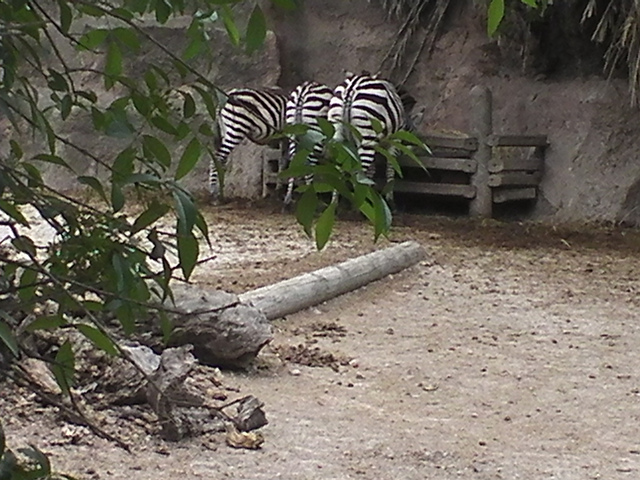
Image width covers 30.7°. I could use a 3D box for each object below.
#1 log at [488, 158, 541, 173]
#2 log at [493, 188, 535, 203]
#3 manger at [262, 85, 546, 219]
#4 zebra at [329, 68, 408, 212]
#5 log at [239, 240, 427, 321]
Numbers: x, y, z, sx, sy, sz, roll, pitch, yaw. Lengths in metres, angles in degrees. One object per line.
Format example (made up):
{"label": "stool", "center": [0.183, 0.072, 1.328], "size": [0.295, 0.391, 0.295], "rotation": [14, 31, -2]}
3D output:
{"label": "log", "center": [1.933, -0.738, 11.635], "size": [0.583, 0.149, 0.205], "rotation": [-5, 17, -39]}
{"label": "log", "center": [1.919, -0.450, 11.713], "size": [0.496, 0.145, 0.133], "rotation": [-2, 5, 2]}
{"label": "manger", "center": [1.145, -0.941, 11.968], "size": [2.185, 1.161, 1.554], "rotation": [4, 8, 31]}
{"label": "zebra", "center": [0.608, -1.130, 12.175], "size": [0.601, 1.343, 2.044], "rotation": [5, 10, 21]}
{"label": "log", "center": [0.130, 0.354, 9.464], "size": [1.535, 0.210, 0.238], "rotation": [-17, 48, -36]}
